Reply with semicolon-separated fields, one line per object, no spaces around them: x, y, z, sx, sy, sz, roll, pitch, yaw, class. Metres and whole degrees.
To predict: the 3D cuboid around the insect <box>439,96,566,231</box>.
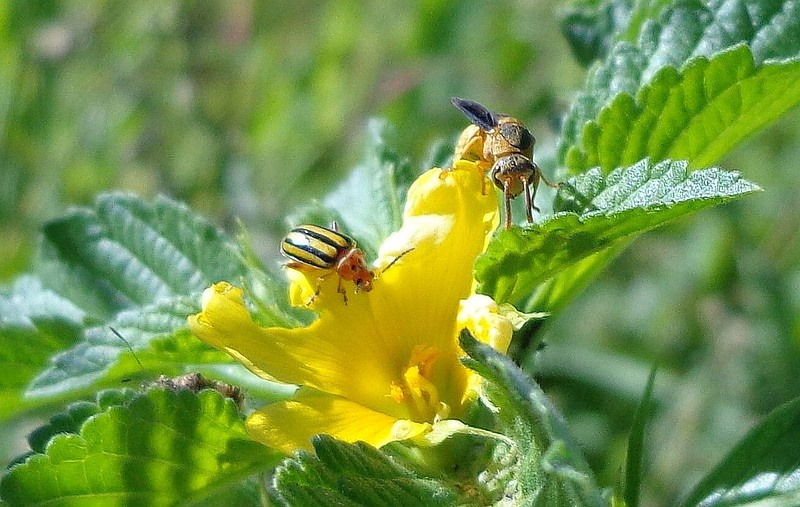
0.295;-0.285;2.675;0.294;0.407;0.138;16;-46;-33;insect
